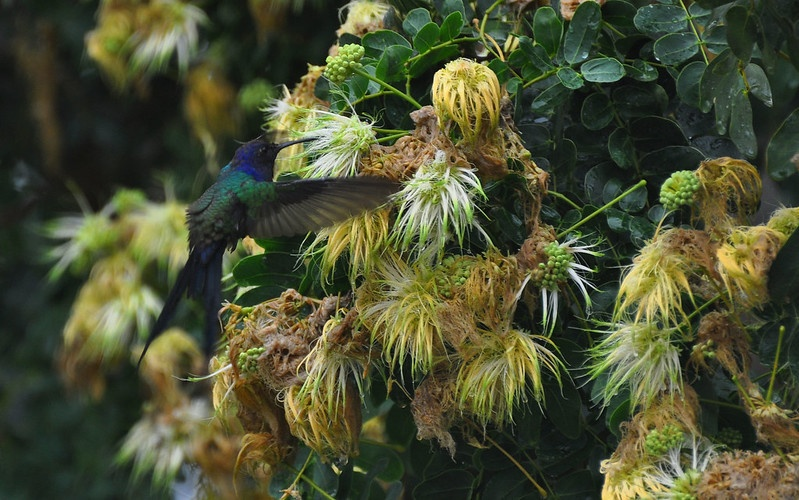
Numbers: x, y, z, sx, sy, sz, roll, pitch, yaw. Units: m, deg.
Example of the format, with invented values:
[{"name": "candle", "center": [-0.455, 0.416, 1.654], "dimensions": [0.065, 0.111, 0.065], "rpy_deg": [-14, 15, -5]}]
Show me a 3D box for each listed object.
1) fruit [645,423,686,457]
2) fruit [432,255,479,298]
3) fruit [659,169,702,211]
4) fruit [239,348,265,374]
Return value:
[{"name": "fruit", "center": [0.694, 0.499, 3.017], "dimensions": [0.086, 0.044, 0.080], "rpy_deg": [-16, 26, 20]}, {"name": "fruit", "center": [0.145, 0.066, 3.081], "dimensions": [0.087, 0.046, 0.123], "rpy_deg": [0, 63, 45]}, {"name": "fruit", "center": [0.734, -0.157, 3.073], "dimensions": [0.097, 0.100, 0.101], "rpy_deg": [-47, 9, 8]}, {"name": "fruit", "center": [-0.403, 0.299, 3.139], "dimensions": [0.069, 0.054, 0.028], "rpy_deg": [-35, 54, 5]}]
